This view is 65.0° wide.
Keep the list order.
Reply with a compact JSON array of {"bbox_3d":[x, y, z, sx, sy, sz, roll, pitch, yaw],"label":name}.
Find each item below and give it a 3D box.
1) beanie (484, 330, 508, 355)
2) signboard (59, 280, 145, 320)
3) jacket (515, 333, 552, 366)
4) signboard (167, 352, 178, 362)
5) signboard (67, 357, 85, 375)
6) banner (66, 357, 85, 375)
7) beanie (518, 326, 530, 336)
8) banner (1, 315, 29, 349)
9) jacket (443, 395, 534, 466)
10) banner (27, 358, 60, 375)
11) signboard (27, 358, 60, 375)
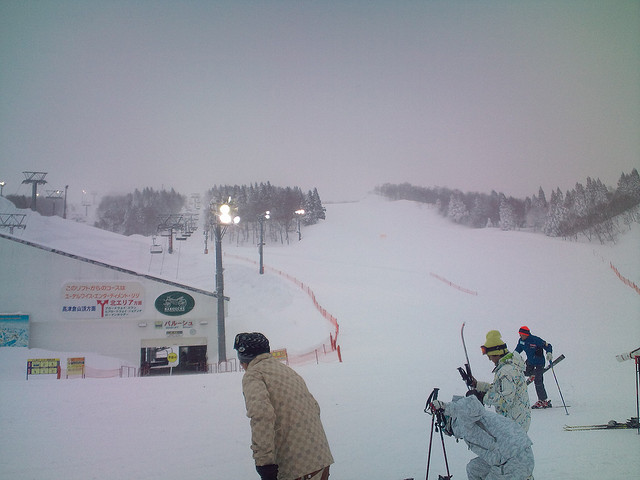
[{"bbox_3d":[3.040,1.810,8.811,0.389,0.436,0.358,-15,-18,18],"label":"beanie"},{"bbox_3d":[-6.953,1.907,15.950,2.492,1.370,0.264,5,-26,-31],"label":"signboard"},{"bbox_3d":[4.983,2.559,11.894,0.343,0.862,1.039,-17,6,-39],"label":"jacket"},{"bbox_3d":[-4.844,3.817,16.446,0.274,0.301,0.049,-5,4,-11],"label":"signboard"},{"bbox_3d":[-6.219,3.220,12.818,0.520,0.543,0.082,-1,-2,0],"label":"signboard"},{"bbox_3d":[-6.212,3.218,12.800,0.462,0.483,0.070,0,-5,-9],"label":"banner"},{"bbox_3d":[4.776,2.115,11.763,0.195,0.164,0.200,19,-2,38],"label":"beanie"},{"bbox_3d":[-8.993,2.705,14.772,0.877,1.109,0.100,-3,-7,-26],"label":"banner"},{"bbox_3d":[2.469,2.849,7.536,1.095,0.902,0.498,19,-19,31],"label":"jacket"},{"bbox_3d":[-7.017,3.216,12.753,0.693,0.381,0.449,6,-13,-32],"label":"banner"},{"bbox_3d":[-7.021,3.226,12.791,0.457,0.311,0.034,1,-24,-19],"label":"signboard"}]
